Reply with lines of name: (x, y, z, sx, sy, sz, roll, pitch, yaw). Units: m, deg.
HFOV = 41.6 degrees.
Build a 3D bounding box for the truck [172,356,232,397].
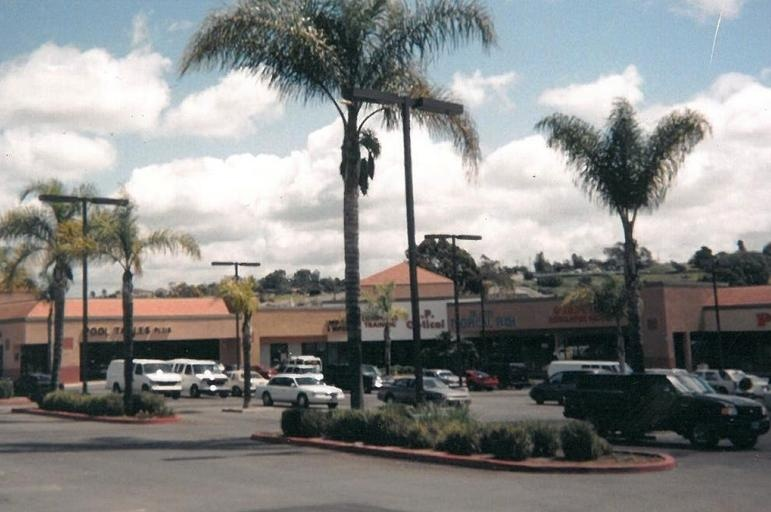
truck: (-11.722, 7.710, 63.685, 1.731, 2.193, 4.328, 2, -5, -37)
